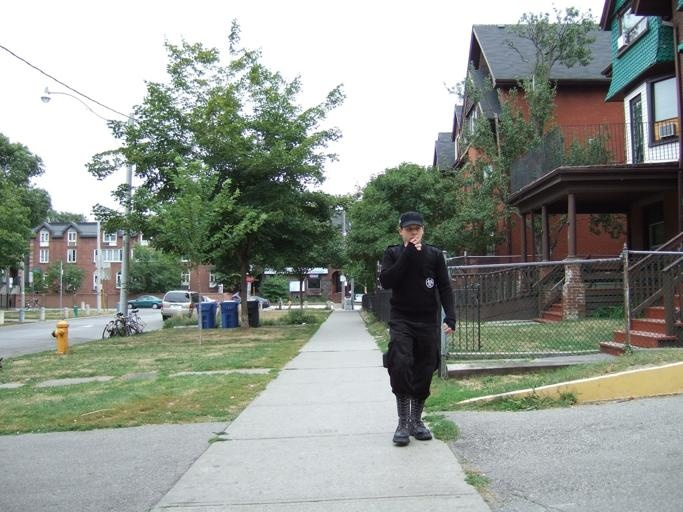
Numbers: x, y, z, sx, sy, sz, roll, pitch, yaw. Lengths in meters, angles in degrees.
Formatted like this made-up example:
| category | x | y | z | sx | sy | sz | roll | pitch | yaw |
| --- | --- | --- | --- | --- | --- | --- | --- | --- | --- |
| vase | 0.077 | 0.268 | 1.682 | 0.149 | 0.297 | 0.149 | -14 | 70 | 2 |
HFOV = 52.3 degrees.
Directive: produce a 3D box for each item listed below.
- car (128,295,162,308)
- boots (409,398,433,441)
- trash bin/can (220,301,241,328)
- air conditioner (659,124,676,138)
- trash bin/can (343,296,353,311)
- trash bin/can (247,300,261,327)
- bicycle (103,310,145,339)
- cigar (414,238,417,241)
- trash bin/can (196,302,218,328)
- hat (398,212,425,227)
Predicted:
| category | x | y | z | sx | sy | sz | roll | pitch | yaw |
| --- | --- | --- | --- | --- | --- | --- | --- | --- | --- |
| car | -17.648 | 4.137 | 62.225 | 3.469 | 1.185 | 2.008 | -7 | -6 | 44 |
| boots | 0.891 | 1.921 | 8.258 | 0.197 | 0.476 | 0.536 | -4 | -1 | -17 |
| trash bin/can | -4.419 | 2.292 | 27.316 | 0.654 | 1.065 | 0.971 | -2 | -4 | -13 |
| air conditioner | 9.705 | -3.712 | 20.650 | 0.233 | 0.461 | 0.501 | 2 | -6 | -9 |
| trash bin/can | 0.431 | 3.482 | 50.399 | 0.680 | 1.293 | 0.693 | -1 | -3 | 6 |
| trash bin/can | -3.615 | 2.326 | 28.228 | 0.432 | 1.058 | 0.775 | -2 | -4 | -7 |
| bicycle | -7.836 | 2.384 | 24.442 | 0.853 | 1.051 | 1.781 | -7 | -6 | 5 |
| cigar | 0.862 | -0.194 | 8.145 | 0.029 | 0.030 | 0.009 | -1 | 0 | 0 |
| trash bin/can | -5.289 | 2.342 | 27.549 | 0.506 | 1.038 | 1.273 | -3 | -4 | 0 |
| hat | 0.827 | -0.443 | 8.334 | 0.274 | 0.234 | 0.574 | -3 | -4 | 3 |
